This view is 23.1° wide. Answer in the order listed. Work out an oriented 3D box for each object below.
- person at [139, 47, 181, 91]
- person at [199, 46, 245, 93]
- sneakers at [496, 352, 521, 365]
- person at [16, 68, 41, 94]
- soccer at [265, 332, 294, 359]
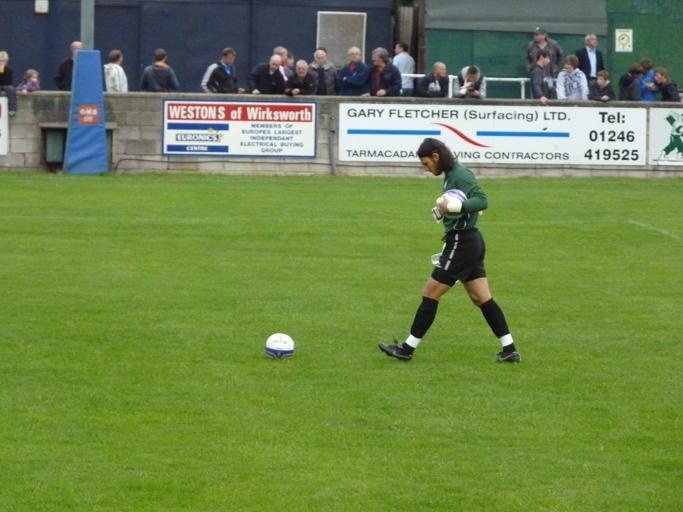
[{"bbox_3d":[-4.140,-4.206,38.108,0.807,0.959,1.740,-2,7,-12],"label":"person"},{"bbox_3d":[-2.668,-4.167,37.833,0.839,0.993,1.253,-1,7,-3],"label":"person"},{"bbox_3d":[2.538,1.553,25.446,0.378,0.168,0.148,3,6,8],"label":"sneakers"},{"bbox_3d":[-7.139,-3.994,38.298,0.546,0.480,1.403,-2,7,-4],"label":"person"},{"bbox_3d":[-0.954,1.353,25.549,0.364,0.279,0.374,4,5,37],"label":"soccer"}]
